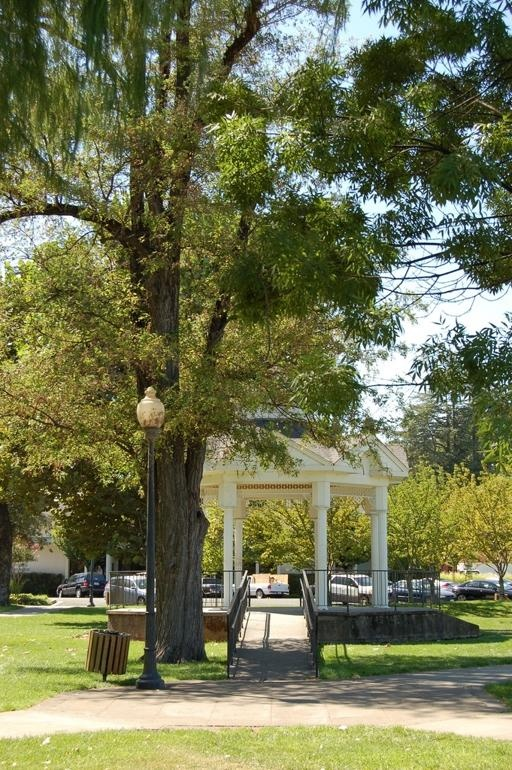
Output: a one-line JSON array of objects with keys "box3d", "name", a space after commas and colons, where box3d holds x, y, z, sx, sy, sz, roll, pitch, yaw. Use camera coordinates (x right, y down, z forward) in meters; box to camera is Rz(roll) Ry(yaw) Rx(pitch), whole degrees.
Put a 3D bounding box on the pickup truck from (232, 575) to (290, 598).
[{"box3d": [0.697, 9.893, 40.095, 1.849, 1.055, 3.001, 0, -12, 2], "name": "pickup truck"}]
